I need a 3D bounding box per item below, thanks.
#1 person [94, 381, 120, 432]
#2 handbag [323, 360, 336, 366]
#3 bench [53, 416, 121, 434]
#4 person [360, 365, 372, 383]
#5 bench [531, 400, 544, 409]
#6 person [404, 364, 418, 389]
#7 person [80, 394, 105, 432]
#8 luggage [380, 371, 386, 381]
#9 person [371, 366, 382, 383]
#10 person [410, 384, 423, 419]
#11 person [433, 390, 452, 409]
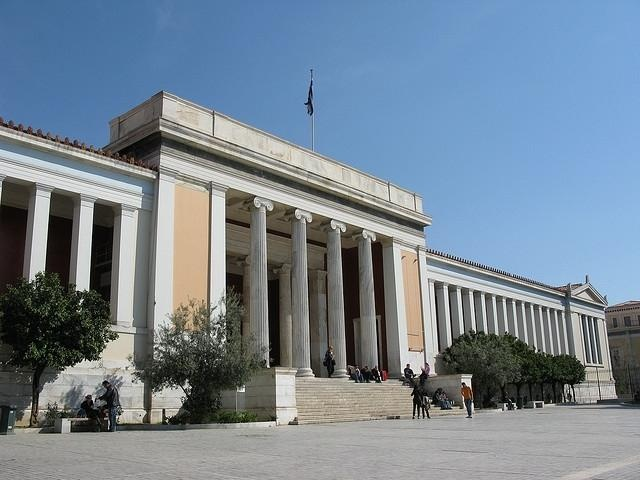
[{"bbox_3d":[-8.161,6.382,19.369,0.846,1.961,0.925,6,-62,-23],"label":"person"},{"bbox_3d":[0.522,7.101,29.365,0.529,0.528,0.371,1,-7,-11],"label":"handbag"},{"bbox_3d":[-8.732,6.649,18.294,1.233,0.556,2.013,-7,-21,11],"label":"bench"},{"bbox_3d":[2.743,8.097,30.667,0.507,0.947,0.885,-1,9,3],"label":"person"},{"bbox_3d":[17.483,13.232,41.005,0.830,0.576,2.986,-11,-23,24],"label":"bench"},{"bbox_3d":[5.697,8.562,32.260,0.756,1.602,2.524,-5,-20,9],"label":"person"},{"bbox_3d":[-8.648,6.572,19.223,0.350,1.351,0.589,-21,-48,-18],"label":"person"},{"bbox_3d":[4.060,8.690,32.641,0.404,0.852,0.469,0,-8,-1],"label":"luggage"},{"bbox_3d":[3.363,8.152,30.933,0.507,1.075,1.067,1,-20,-8],"label":"person"},{"bbox_3d":[4.833,8.113,25.514,0.552,1.615,2.910,-5,-20,10],"label":"person"},{"bbox_3d":[7.419,9.515,30.382,0.890,1.544,0.948,12,-22,-34],"label":"person"}]
